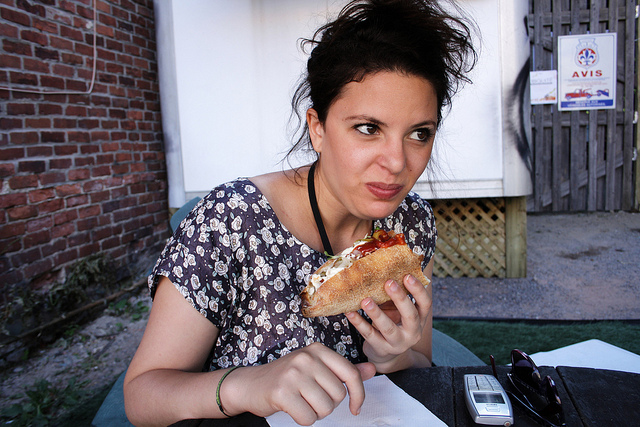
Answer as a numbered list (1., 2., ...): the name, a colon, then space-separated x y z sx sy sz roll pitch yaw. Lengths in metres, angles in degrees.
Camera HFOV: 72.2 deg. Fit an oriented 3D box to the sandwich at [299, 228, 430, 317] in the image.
1. sandwich: 0.294 0.503 2.808 0.691 0.304 0.504 -28 34 -5
